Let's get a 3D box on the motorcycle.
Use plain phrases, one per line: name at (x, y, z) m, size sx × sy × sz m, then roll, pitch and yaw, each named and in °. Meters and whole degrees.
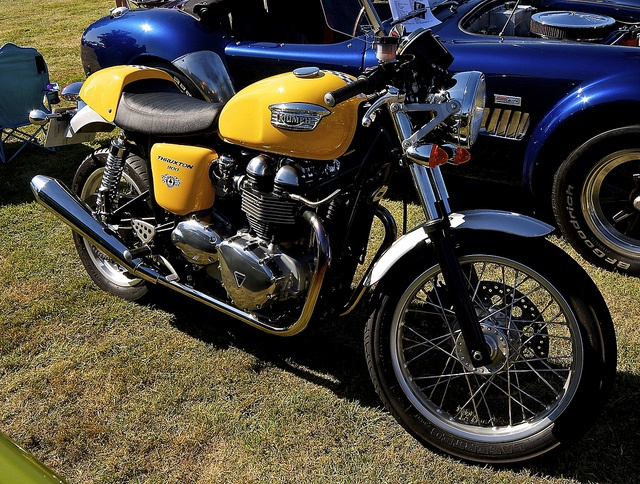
motorcycle at (-0.029, -0.094, 2.788) m, size 3.195 × 1.854 × 1.401 m, roll 24°, pitch 52°, yaw 28°
